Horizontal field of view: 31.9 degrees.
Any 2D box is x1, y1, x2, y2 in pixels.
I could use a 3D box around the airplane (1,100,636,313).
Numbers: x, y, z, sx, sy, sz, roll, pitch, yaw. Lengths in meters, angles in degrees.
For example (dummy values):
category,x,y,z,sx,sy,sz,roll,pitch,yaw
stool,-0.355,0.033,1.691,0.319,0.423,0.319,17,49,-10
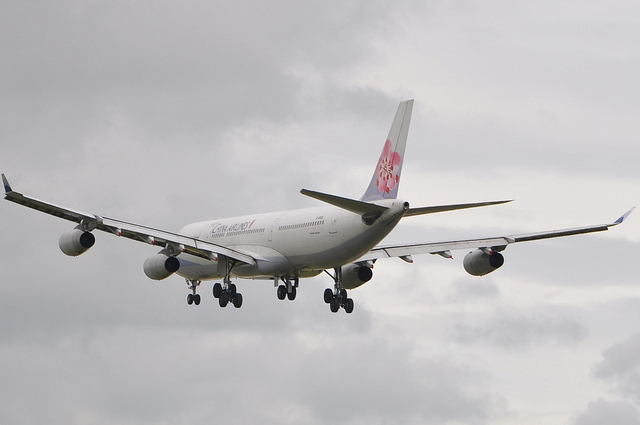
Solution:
category,x,y,z,sx,sy,sz,roll,pitch,yaw
airplane,-1.063,1.134,42.571,14.195,4.165,10.645,5,-7,-38
